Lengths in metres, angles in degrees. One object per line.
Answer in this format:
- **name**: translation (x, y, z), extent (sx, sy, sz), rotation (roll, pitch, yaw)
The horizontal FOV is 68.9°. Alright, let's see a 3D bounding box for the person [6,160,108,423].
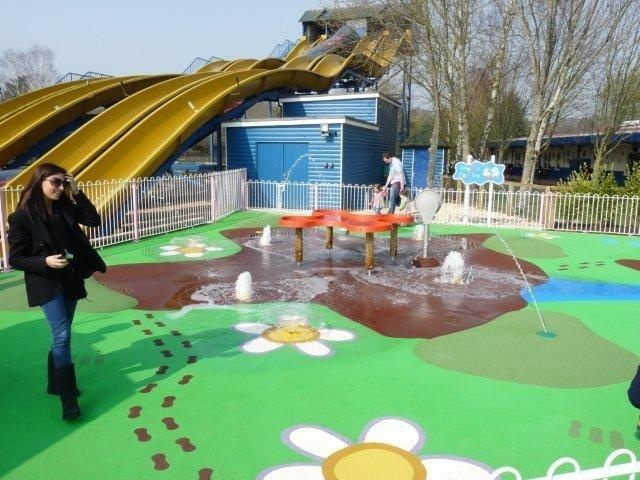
- **person**: translation (-2.767, 0.516, 4.957), extent (0.748, 2.595, 0.983), rotation (0, 15, -3)

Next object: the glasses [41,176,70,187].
- **glasses**: translation (-2.680, -0.594, 4.810), extent (0.086, 0.110, 0.214), rotation (10, 17, 29)
